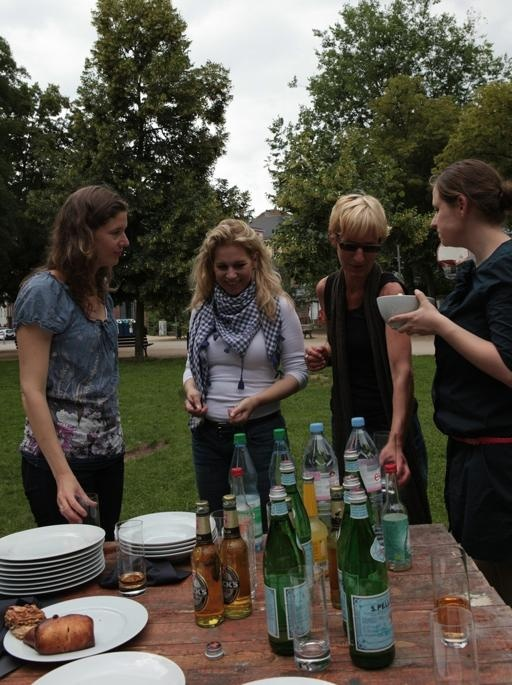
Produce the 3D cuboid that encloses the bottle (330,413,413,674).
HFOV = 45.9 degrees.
[{"bbox_3d":[0.244,0.465,1.388,0.117,0.411,0.369,-3,3,7],"label":"bottle"}]

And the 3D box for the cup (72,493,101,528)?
[{"bbox_3d":[-0.555,0.558,2.017,0.053,0.107,0.105,-4,3,-14],"label":"cup"}]

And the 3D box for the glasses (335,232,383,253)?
[{"bbox_3d":[0.455,-0.449,2.722,0.229,0.108,0.160,-2,3,7],"label":"glasses"}]

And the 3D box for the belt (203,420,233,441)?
[{"bbox_3d":[-0.167,0.384,2.650,0.120,0.040,0.084,3,3,-3],"label":"belt"}]

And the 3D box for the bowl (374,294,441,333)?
[{"bbox_3d":[0.506,-0.093,2.118,0.152,0.089,0.142,0,-8,0],"label":"bowl"}]

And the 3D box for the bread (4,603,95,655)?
[{"bbox_3d":[-0.479,0.650,1.411,0.129,0.044,0.121,9,-6,4],"label":"bread"}]

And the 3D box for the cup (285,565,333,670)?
[{"bbox_3d":[0.110,0.573,1.258,0.082,0.225,0.066,-3,3,2],"label":"cup"}]
